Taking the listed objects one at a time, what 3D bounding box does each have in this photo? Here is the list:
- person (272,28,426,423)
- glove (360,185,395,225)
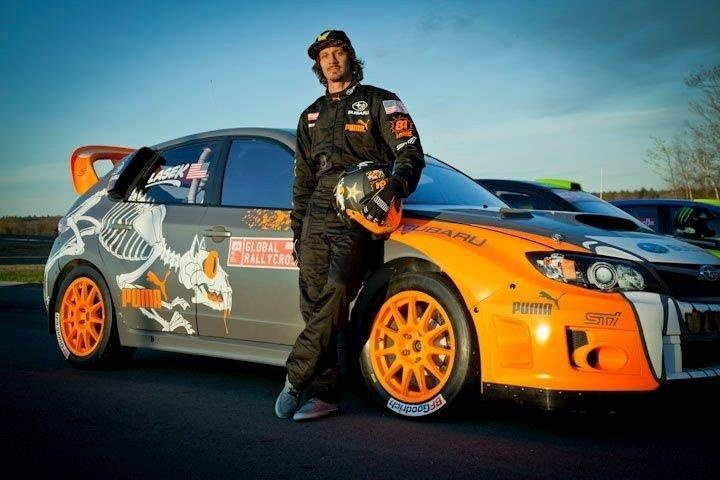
[{"bbox_3d":[-0.123,-0.153,3.313,1.143,3.050,0.436,-3,-5,30],"label":"person"},{"bbox_3d":[0.133,-0.244,2.978,0.280,0.177,0.085,-41,12,0],"label":"glove"}]
